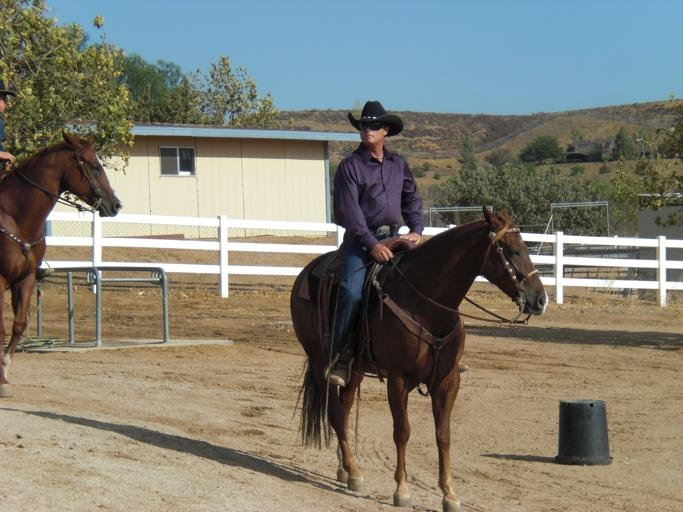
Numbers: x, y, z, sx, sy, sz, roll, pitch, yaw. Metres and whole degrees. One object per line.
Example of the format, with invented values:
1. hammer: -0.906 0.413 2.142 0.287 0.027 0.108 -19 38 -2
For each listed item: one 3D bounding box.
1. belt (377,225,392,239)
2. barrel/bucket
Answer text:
1. belt: 0.605 -0.317 14.973 0.183 0.148 0.157 -1 0 31
2. barrel/bucket: 3.591 2.571 16.080 0.779 0.923 0.826 1 1 0
